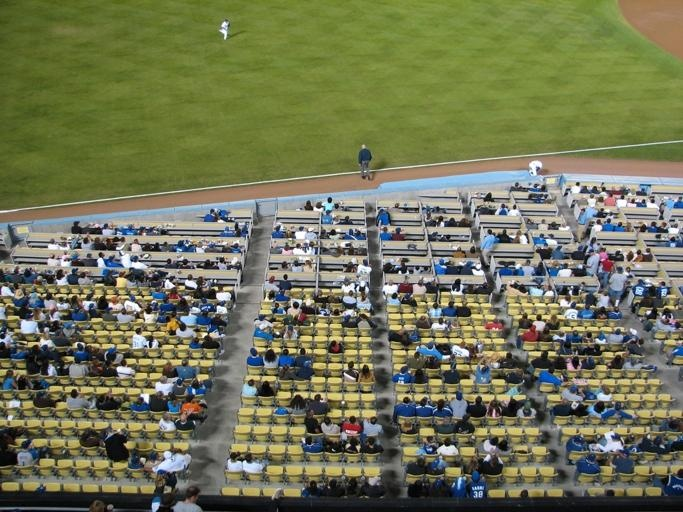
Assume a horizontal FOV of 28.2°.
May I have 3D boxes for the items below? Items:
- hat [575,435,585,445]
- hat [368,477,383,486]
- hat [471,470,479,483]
[{"bbox_3d":[10.649,8.273,61.218,0.343,0.421,0.390,13,67,9],"label":"hat"},{"bbox_3d":[1.360,9.836,59.421,0.450,0.835,0.433,-6,76,-4],"label":"hat"},{"bbox_3d":[5.879,9.678,60.020,0.456,0.447,0.450,-2,74,8],"label":"hat"}]
